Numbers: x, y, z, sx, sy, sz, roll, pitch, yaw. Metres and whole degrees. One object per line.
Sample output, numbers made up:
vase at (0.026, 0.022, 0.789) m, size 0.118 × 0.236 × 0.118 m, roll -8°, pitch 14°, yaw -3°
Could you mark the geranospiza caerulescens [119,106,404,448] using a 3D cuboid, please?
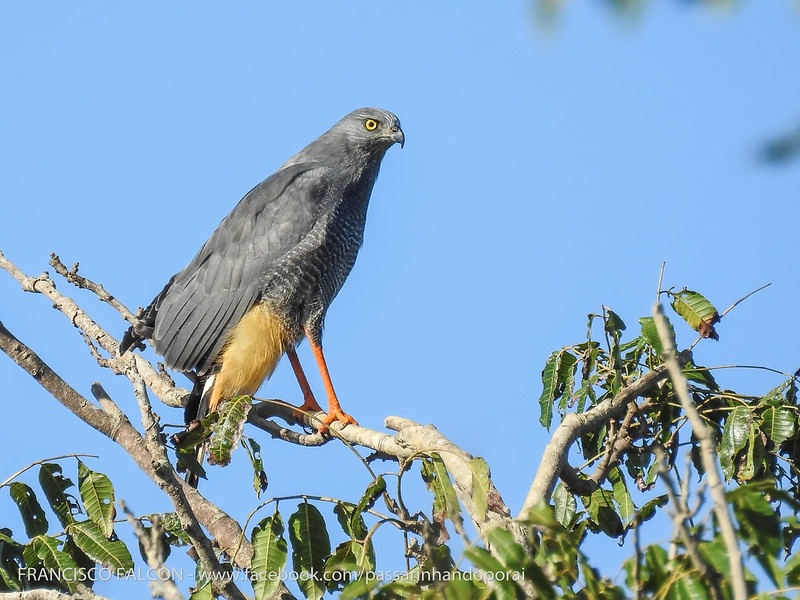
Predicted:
geranospiza caerulescens at (-0.726, -0.114, 7.872) m, size 1.474 × 2.310 × 0.537 m, roll -10°, pitch -42°, yaw 9°
